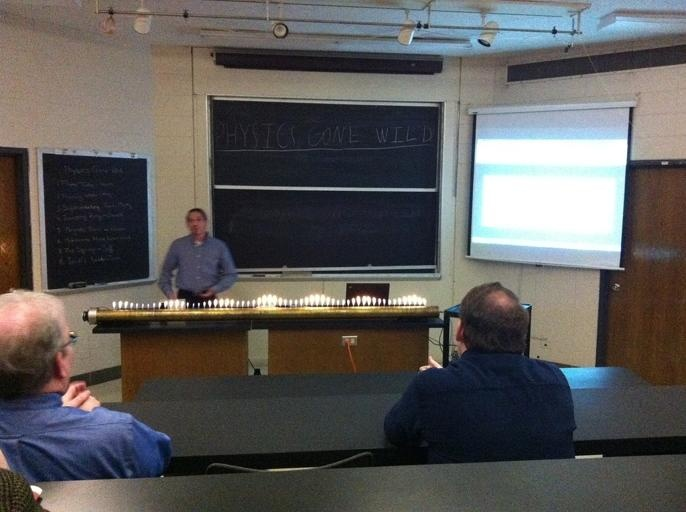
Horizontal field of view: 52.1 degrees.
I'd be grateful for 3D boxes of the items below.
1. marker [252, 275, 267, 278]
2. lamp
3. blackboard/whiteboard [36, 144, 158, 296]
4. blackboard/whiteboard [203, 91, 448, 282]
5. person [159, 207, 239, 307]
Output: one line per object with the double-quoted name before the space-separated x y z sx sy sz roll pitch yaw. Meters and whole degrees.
"marker" -0.861 0.201 7.210 0.123 0.033 0.049 -2 4 -8
"lamp" -0.380 -1.941 6.031 3.312 0.367 1.097 -2 4 -7
"blackboard/whiteboard" -2.367 -0.358 6.613 1.430 1.717 0.116 -3 3 -44
"blackboard/whiteboard" -0.274 -0.783 7.202 1.925 1.384 0.203 0 4 -7
"person" -1.364 -0.007 6.530 0.704 0.847 0.337 -2 4 -12
